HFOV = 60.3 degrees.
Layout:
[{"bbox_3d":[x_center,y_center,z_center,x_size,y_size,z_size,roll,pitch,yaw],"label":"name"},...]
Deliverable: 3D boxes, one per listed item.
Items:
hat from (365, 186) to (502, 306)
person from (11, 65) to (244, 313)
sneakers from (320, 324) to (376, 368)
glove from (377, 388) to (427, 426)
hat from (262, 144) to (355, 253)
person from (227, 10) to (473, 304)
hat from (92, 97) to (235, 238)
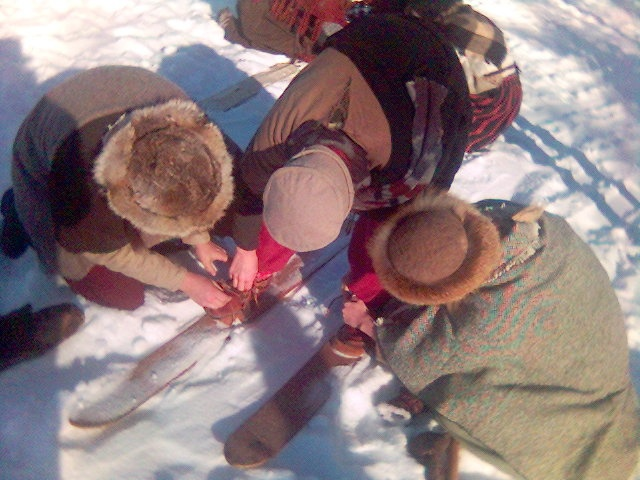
[{"bbox_3d":[0.668,0.048,3.141,0.662,0.346,0.592,-30,77,-16],"label":"hat"},{"bbox_3d":[-1.227,-0.224,3.416,0.923,1.595,1.060,-43,105,-11],"label":"person"},{"bbox_3d":[0.220,0.783,4.019,0.297,0.160,0.241,-30,75,30],"label":"sneakers"},{"bbox_3d":[0.617,1.227,4.042,0.302,0.122,0.230,-34,82,-5],"label":"glove"},{"bbox_3d":[-0.057,-0.226,3.094,0.429,0.437,0.551,32,97,-5],"label":"hat"},{"bbox_3d":[0.141,-0.515,3.498,1.278,0.603,1.783,33,98,-7],"label":"person"},{"bbox_3d":[-0.847,-0.382,3.006,0.699,0.305,0.715,-26,77,-15],"label":"hat"}]
